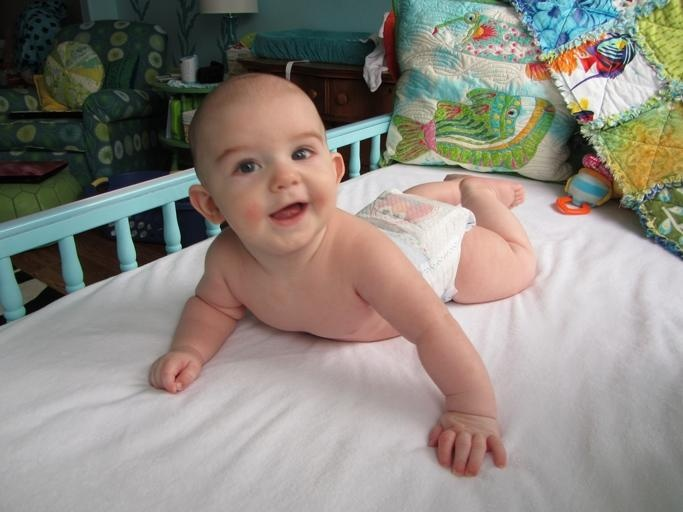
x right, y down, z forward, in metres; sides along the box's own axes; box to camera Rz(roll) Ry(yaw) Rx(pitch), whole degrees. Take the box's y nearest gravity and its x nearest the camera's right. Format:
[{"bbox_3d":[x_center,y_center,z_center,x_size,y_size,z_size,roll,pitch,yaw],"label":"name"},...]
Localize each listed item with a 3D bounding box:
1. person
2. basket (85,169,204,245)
[{"bbox_3d":[0.075,-0.089,1.028,0.517,0.429,0.714,9,33,21],"label":"person"},{"bbox_3d":[-0.855,-0.230,2.266,0.401,0.129,0.524,-34,44,-22],"label":"basket"}]
